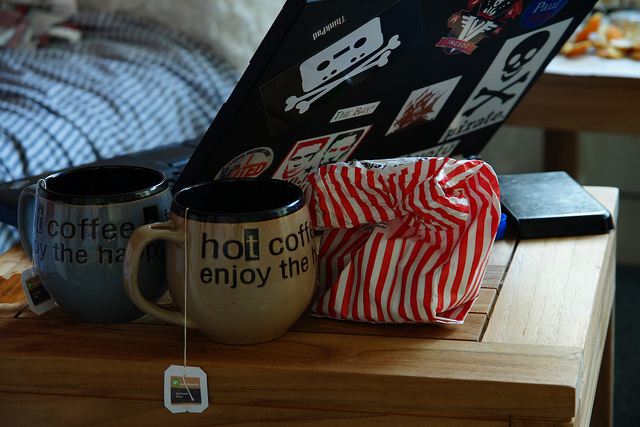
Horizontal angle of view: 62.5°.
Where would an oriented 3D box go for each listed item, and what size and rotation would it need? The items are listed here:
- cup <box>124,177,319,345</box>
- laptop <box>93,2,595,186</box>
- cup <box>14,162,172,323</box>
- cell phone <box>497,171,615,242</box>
[{"bbox_3d":[-0.133,0.080,0.669,0.258,0.159,0.172,-2,-1,-40],"label":"cup"},{"bbox_3d":[0.079,-0.185,0.779,0.469,0.260,0.491,8,8,43],"label":"laptop"},{"bbox_3d":[-0.342,0.042,0.756,0.262,0.176,0.173,7,12,13],"label":"cup"},{"bbox_3d":[0.393,-0.006,0.886,0.128,0.027,0.164,-4,26,-3],"label":"cell phone"}]
